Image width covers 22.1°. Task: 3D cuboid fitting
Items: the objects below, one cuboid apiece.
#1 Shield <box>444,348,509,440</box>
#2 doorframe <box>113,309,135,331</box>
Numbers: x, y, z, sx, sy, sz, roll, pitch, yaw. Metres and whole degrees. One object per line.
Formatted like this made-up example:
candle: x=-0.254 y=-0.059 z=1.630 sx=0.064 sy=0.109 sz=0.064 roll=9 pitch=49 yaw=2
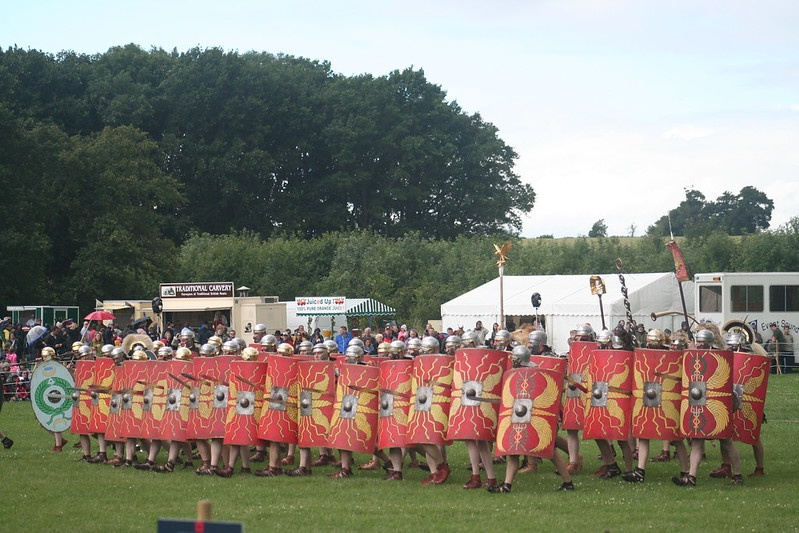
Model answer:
Shield: x=3.221 y=5.311 z=83.687 sx=2.948 sy=4.961 sz=1.133 roll=6 pitch=-6 yaw=10
doorframe: x=-14.957 y=2.788 z=110.999 sx=1.020 sy=1.055 sz=0.575 roll=1 pitch=5 yaw=31
